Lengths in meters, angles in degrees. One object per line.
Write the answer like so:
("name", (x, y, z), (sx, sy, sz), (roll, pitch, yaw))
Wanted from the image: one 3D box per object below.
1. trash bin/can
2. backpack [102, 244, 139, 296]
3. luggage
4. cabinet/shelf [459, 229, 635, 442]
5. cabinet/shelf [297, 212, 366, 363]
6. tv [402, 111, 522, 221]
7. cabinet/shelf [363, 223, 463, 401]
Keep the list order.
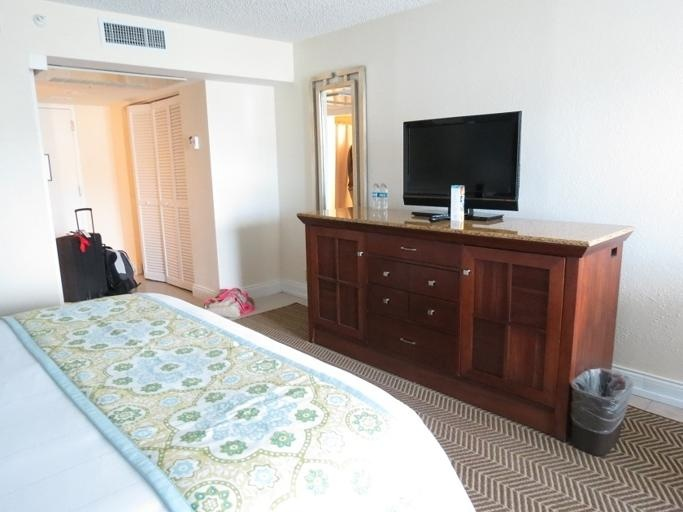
("trash bin/can", (1.439, 0.856, 2.651), (0.254, 0.380, 0.371), (14, 23, 39))
("backpack", (-2.256, 0.161, 4.762), (0.256, 0.446, 0.385), (-12, 1, -17))
("luggage", (-2.439, 0.100, 4.488), (0.424, 0.633, 0.247), (-13, 21, -33))
("cabinet/shelf", (1.226, 0.397, 2.981), (0.931, 1.140, 0.897), (5, 13, 30))
("cabinet/shelf", (0.068, 0.180, 3.781), (0.659, 1.123, 0.549), (11, 19, 38))
("tv", (0.788, -0.597, 3.207), (0.866, 0.676, 0.251), (9, 15, 41))
("cabinet/shelf", (0.601, 0.269, 3.403), (0.692, 0.976, 0.491), (11, 22, 35))
